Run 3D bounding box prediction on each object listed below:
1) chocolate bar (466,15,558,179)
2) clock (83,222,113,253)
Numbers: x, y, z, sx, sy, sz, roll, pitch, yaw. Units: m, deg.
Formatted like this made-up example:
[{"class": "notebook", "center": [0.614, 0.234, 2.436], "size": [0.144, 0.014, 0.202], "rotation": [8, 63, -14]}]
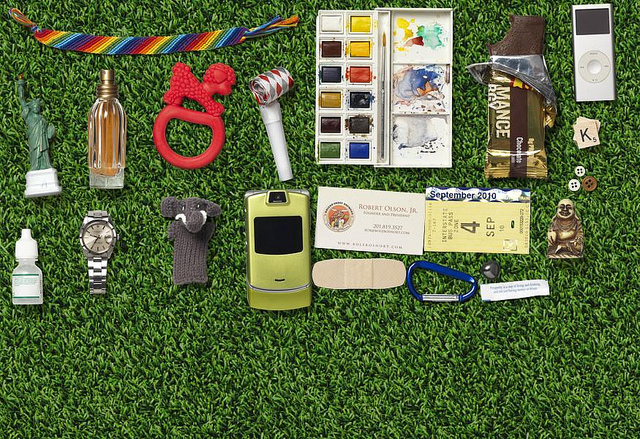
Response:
[{"class": "chocolate bar", "center": [0.798, -0.504, 3.145], "size": [0.330, 0.193, 0.713], "rotation": [0, 73, 15]}, {"class": "clock", "center": [-0.896, 0.070, 3.112], "size": [0.120, 0.010, 0.119], "rotation": [-8, 84, 0]}]
